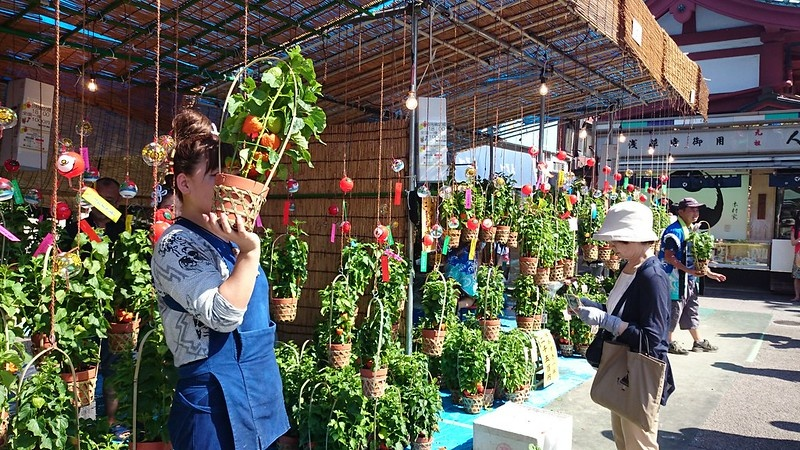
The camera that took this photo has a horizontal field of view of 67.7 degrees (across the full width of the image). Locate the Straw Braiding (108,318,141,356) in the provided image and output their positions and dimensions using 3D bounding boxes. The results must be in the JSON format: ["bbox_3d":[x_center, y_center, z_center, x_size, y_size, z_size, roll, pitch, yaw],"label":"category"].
[{"bbox_3d":[-3.701,1.466,7.934,0.356,0.339,0.390,-1,-9,5],"label":"Straw Braiding"}]

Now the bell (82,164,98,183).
[{"bbox_3d":[-4.283,-0.693,8.225,0.170,0.193,0.231,-4,0,-4],"label":"bell"}]

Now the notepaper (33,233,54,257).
[{"bbox_3d":[-4.580,0.252,7.636,0.387,0.103,0.109,-44,-25,24],"label":"notepaper"}]
